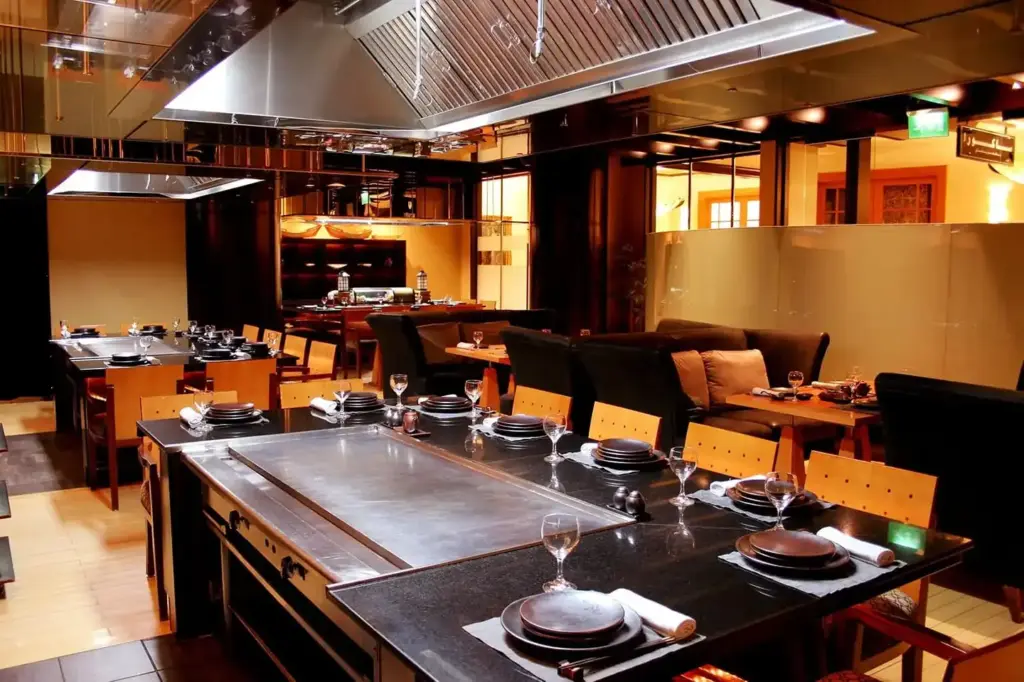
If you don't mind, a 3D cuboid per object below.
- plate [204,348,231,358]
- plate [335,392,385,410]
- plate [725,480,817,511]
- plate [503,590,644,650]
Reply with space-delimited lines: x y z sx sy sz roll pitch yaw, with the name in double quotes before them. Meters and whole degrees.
"plate" -2.743 0.118 6.814 0.166 0.035 0.163 5 6 29
"plate" -0.951 0.384 4.633 0.151 0.044 0.142 0 4 1
"plate" 1.076 0.681 3.168 0.189 0.025 0.175 -9 9 -39
"plate" 0.208 0.929 2.381 0.231 0.030 0.226 1 6 19
